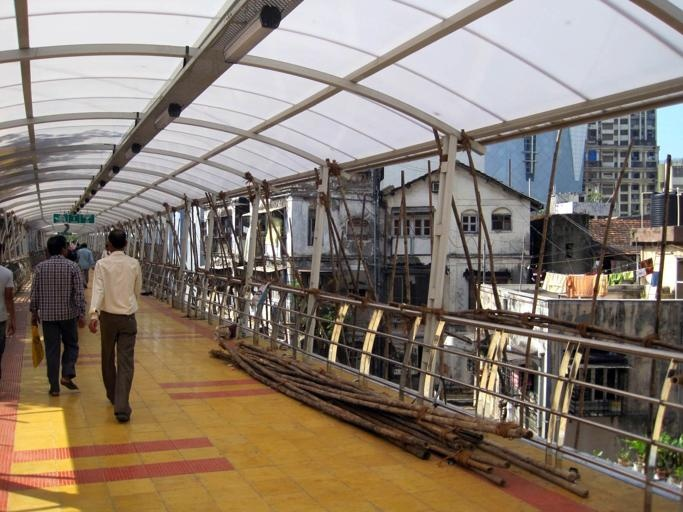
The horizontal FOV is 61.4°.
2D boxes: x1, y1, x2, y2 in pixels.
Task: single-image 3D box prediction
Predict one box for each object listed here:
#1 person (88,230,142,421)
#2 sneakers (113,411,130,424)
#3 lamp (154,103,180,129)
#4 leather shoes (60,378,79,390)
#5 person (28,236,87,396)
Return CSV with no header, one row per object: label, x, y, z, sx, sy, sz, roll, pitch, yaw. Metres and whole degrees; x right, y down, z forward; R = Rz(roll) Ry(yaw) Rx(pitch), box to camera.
person,-2.681,0.808,6.852,0.584,2.241,0.799,-2,4,-23
sneakers,-2.532,1.875,6.638,0.083,0.225,0.093,16,36,21
lamp,-2.758,-2.156,9.135,0.188,0.209,1.086,16,-15,-26
leather shoes,-3.818,1.815,8.047,0.092,0.074,0.217,-36,-40,11
person,-3.841,0.812,7.792,0.648,2.189,0.986,-3,4,-26
